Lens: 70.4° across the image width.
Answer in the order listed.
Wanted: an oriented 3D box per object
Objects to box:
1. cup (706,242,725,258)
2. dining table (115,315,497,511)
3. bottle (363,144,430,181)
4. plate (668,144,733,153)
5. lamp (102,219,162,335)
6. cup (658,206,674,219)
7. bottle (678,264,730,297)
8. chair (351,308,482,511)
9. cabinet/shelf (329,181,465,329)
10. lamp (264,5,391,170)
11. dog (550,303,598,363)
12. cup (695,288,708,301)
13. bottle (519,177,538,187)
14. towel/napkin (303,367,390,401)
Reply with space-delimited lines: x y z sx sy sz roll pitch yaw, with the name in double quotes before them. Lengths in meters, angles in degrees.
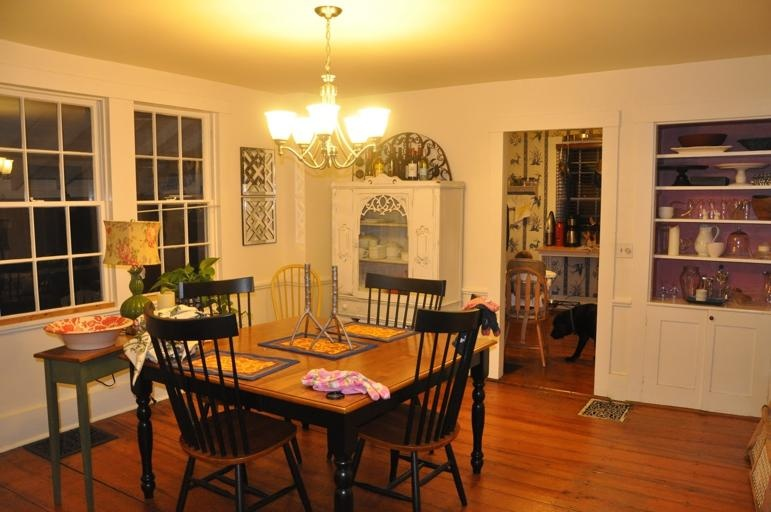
"cup" 3.185 -0.058 5.276 0.143 0.118 0.145 0 -4 0
"dining table" -0.606 0.872 3.901 1.651 0.951 1.680 0 2 37
"bottle" 0.158 -1.053 6.159 0.570 0.345 0.110 4 12 26
"plate" 3.042 -1.018 5.258 0.476 0.085 0.199 7 15 29
"lamp" -2.022 0.144 4.375 0.425 0.771 0.446 -8 -4 13
"cup" 2.781 -0.424 5.413 0.122 0.092 0.127 0 -2 0
"bottle" 3.144 0.252 5.368 0.318 0.268 0.139 1 -10 10
"chair" 0.230 1.032 3.841 0.819 1.579 0.960 2 14 9
"cabinet/shelf" 0.172 -0.037 5.669 1.529 1.704 0.622 2 3 29
"lamp" -0.539 -1.530 4.852 1.301 1.329 1.022 0 -2 -11
"dog" 2.276 0.918 6.619 0.498 0.733 0.349 6 15 25
"cup" 3.044 0.379 5.263 0.114 0.121 0.112 0 -1 0
"bottle" 2.335 -1.195 8.813 0.187 0.125 0.179 0 0 0
"towel/napkin" -0.256 0.810 3.347 0.551 0.199 0.169 1 13 4
